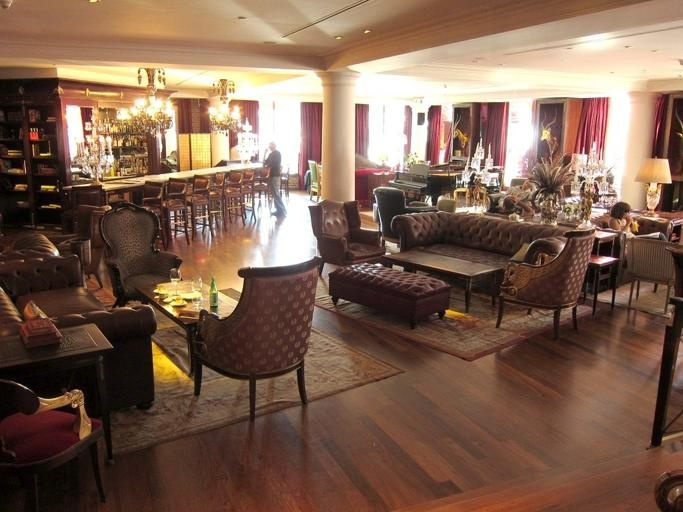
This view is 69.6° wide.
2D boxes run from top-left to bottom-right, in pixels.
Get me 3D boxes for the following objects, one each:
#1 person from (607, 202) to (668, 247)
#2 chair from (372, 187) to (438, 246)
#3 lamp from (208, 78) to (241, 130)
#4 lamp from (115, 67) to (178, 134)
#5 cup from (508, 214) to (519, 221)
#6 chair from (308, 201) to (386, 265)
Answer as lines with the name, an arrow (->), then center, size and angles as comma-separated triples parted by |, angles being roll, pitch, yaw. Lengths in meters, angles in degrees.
person -> 4.549, -0.563, 7.625 | 1.050, 0.793, 0.774 | 4, 3, 29
chair -> 0.979, -0.834, 9.358 | 1.152, 1.156, 1.051 | -7, 15, -27
lamp -> -2.805, -3.667, 11.781 | 0.819, 1.151, 0.797 | -22, 45, -29
lamp -> -4.119, -3.636, 10.672 | 1.210, 1.625, 1.129 | -10, 17, -33
cup -> 2.621, -0.589, 7.480 | 0.117, 0.100, 0.114 | -1, 15, 0
chair -> 0.012, -0.290, 7.798 | 1.121, 1.246, 1.106 | 11, 17, 41
